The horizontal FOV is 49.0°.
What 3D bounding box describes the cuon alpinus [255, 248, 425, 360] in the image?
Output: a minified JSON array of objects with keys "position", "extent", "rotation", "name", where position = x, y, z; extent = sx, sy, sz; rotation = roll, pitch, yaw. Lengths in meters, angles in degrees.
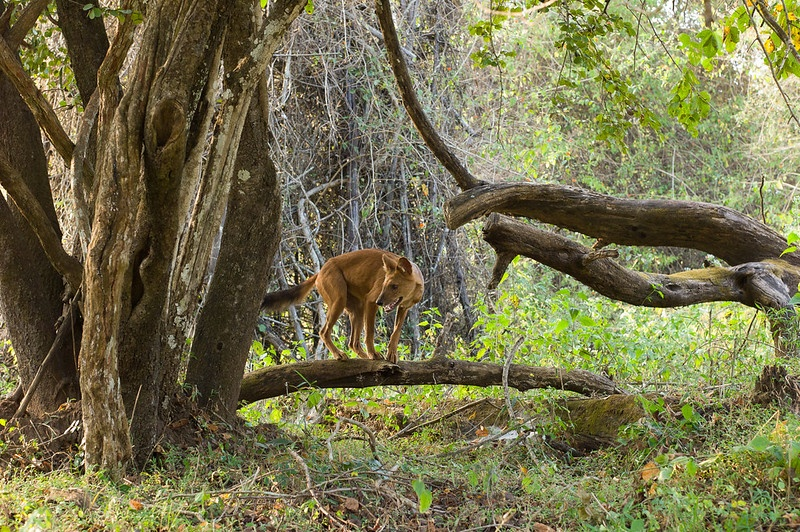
[{"position":[-0.580,0.422,9.228],"extent":[2.158,1.215,0.775],"rotation":[-5,-3,44],"name":"cuon alpinus"}]
